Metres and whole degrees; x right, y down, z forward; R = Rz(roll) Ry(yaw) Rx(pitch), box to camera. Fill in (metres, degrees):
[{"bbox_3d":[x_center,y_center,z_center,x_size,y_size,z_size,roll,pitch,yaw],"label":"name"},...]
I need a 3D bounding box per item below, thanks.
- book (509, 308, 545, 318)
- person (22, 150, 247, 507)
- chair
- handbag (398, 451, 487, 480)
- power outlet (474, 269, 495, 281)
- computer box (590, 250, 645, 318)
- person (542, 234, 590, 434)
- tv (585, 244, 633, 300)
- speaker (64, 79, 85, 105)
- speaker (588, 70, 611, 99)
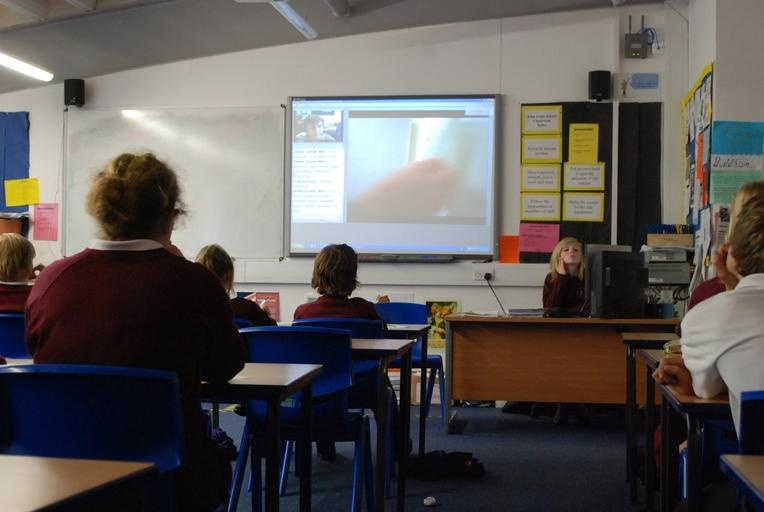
[{"bbox_3d":[0.999,0.403,4.895,0.234,0.040,0.077,-1,3,16],"label":"book"},{"bbox_3d":[-0.865,0.275,2.504,0.754,1.299,0.341,-2,2,-13],"label":"person"},{"bbox_3d":[-0.403,0.541,3.193,0.935,0.906,1.214,1,-1,8],"label":"chair"},{"bbox_3d":[0.338,1.202,4.010,0.340,0.113,0.266,5,-5,-38],"label":"handbag"},{"bbox_3d":[0.876,0.174,6.012,0.176,0.090,0.023,-1,2,2],"label":"power outlet"},{"bbox_3d":[1.599,0.194,4.818,0.342,0.474,0.364,0,-6,13],"label":"computer box"},{"bbox_3d":[1.362,0.554,5.295,0.311,1.333,0.778,-1,2,15],"label":"person"},{"bbox_3d":[1.508,0.117,4.707,0.350,0.495,0.247,0,-4,5],"label":"tv"},{"bbox_3d":[-2.740,-1.461,6.355,0.170,0.242,0.092,-2,2,-11],"label":"speaker"},{"bbox_3d":[1.803,-1.435,5.955,0.210,0.246,0.216,0,1,14],"label":"speaker"}]
